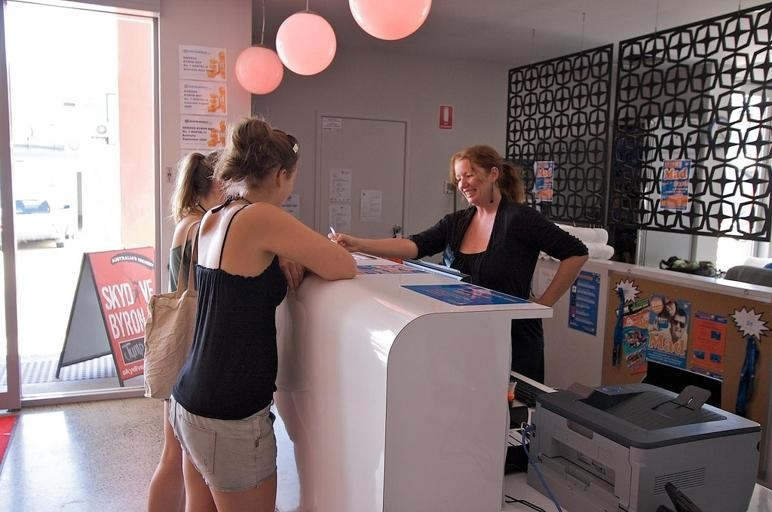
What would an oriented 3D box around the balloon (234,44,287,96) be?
[{"bbox_3d":[-0.924,-1.278,3.757,0.334,0.361,0.321,5,4,12],"label":"balloon"}]
